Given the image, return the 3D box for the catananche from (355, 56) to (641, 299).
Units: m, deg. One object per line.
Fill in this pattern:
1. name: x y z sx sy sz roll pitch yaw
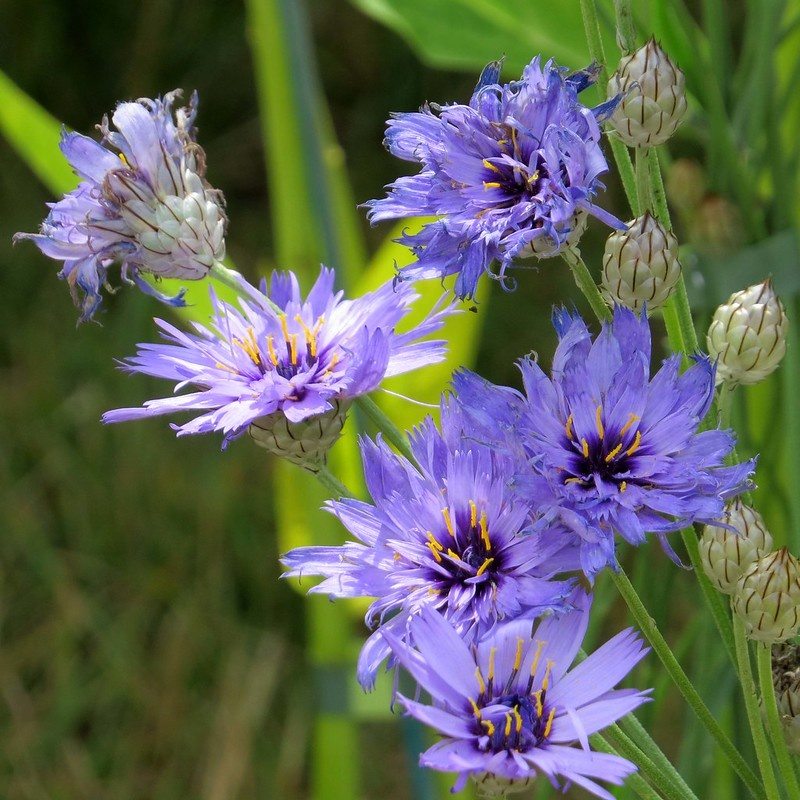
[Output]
1. catananche: 0.034 -0.085 0.368 0.095 0.088 0.065 -5 11 -3

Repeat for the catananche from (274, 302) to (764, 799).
1. catananche: 0.057 0.063 0.378 0.191 0.194 0.155 -15 16 -42

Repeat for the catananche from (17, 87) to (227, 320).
1. catananche: -0.106 -0.088 0.427 0.076 0.091 0.134 -1 13 14
